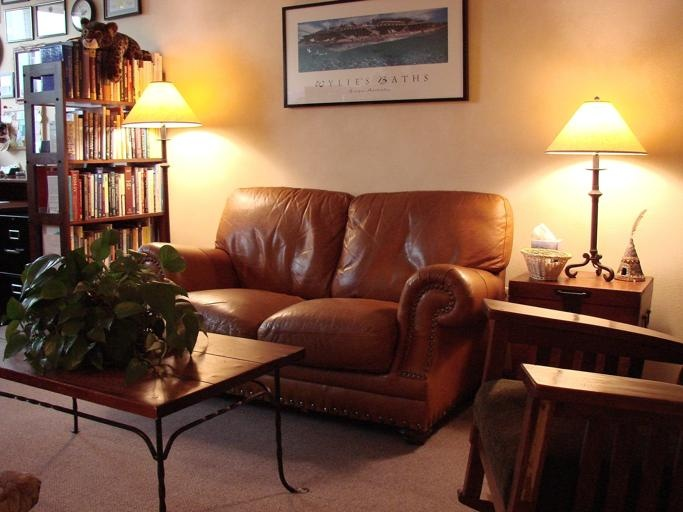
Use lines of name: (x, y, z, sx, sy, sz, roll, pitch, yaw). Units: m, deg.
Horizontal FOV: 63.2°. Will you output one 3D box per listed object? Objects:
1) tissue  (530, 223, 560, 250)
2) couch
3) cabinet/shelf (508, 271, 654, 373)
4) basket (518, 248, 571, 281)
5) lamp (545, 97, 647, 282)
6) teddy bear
tissue : (1.060, -0.107, 2.965, 0.137, 0.149, 0.136, -1, 3, -3)
couch: (-0.145, 0.207, 3.105, 1.932, 1.085, 1.078, 4, 7, 34)
cabinet/shelf: (1.122, 0.433, 2.851, 0.612, 0.554, 0.482, 5, -1, 15)
basket: (1.033, 0.043, 2.832, 0.203, 0.144, 0.258, 3, 6, -44)
lamp: (1.286, -0.322, 2.827, 0.480, 0.860, 0.473, 5, -5, 0)
teddy bear: (-1.529, -1.458, 3.885, 0.284, 0.362, 0.784, 11, 22, 5)
